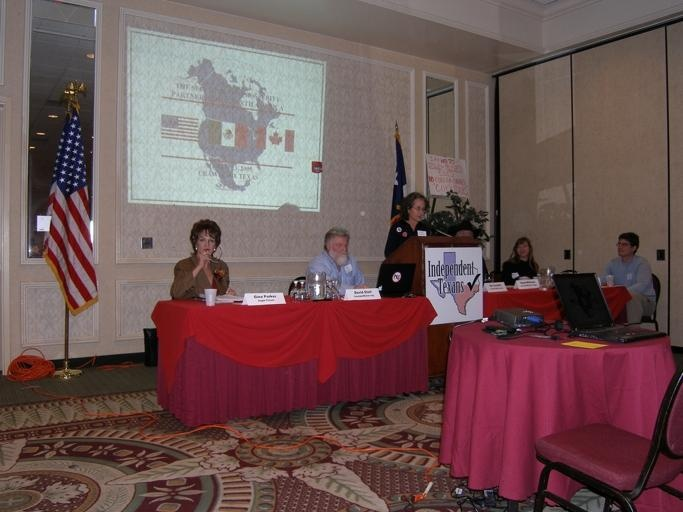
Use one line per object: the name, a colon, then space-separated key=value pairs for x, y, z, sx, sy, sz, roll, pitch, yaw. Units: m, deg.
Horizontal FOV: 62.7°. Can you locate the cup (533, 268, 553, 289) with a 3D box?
cup: x=2.172 y=0.241 z=6.045 sx=0.212 sy=0.254 sz=0.191 roll=0 pitch=2 yaw=-39

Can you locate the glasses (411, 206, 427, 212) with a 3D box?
glasses: x=0.867 y=-0.534 z=6.303 sx=0.154 sy=0.059 sz=0.080 roll=-2 pitch=4 yaw=-11

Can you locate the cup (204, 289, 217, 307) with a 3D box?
cup: x=-1.073 y=0.340 z=4.538 sx=0.109 sy=0.138 sz=0.113 roll=0 pitch=-6 yaw=0

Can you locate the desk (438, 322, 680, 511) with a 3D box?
desk: x=1.230 y=0.832 z=3.237 sx=0.991 sy=0.695 sz=1.049 roll=0 pitch=4 yaw=-28

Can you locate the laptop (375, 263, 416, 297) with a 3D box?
laptop: x=0.504 y=0.202 z=5.173 sx=0.364 sy=0.302 sz=0.273 roll=-1 pitch=5 yaw=-18

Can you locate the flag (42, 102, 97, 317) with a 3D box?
flag: x=-2.951 y=-0.495 z=6.042 sx=0.497 sy=2.213 sz=0.311 roll=-2 pitch=3 yaw=-30

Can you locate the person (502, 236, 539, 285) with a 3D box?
person: x=2.410 y=0.131 z=7.479 sx=0.482 sy=0.775 sz=0.415 roll=1 pitch=4 yaw=9

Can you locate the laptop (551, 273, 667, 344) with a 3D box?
laptop: x=1.605 y=0.344 z=3.485 sx=0.477 sy=0.348 sz=0.439 roll=0 pitch=1 yaw=-38

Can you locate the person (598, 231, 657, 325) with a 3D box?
person: x=3.606 y=0.411 z=7.107 sx=0.764 sy=1.422 sz=0.643 roll=3 pitch=-6 yaw=-29

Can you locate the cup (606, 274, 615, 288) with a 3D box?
cup: x=3.179 y=0.298 z=6.623 sx=0.105 sy=0.185 sz=0.184 roll=0 pitch=-3 yaw=1
